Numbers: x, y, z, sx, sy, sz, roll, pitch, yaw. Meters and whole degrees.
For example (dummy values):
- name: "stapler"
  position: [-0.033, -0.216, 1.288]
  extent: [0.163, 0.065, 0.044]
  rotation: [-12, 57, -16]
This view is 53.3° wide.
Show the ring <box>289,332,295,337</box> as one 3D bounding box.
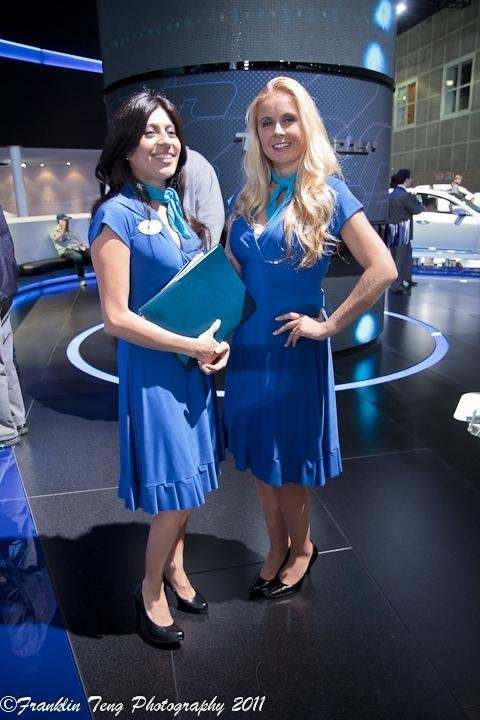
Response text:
- name: "ring"
  position: [0.142, -0.069, 1.291]
  extent: [0.010, 0.010, 0.004]
  rotation: [13, 59, -9]

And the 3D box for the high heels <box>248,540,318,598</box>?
- name: "high heels"
  position: [0.136, 0.709, 1.609]
  extent: [0.202, 0.091, 0.105]
  rotation: [-24, 14, -36]

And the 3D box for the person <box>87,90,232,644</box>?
- name: "person"
  position: [-0.215, 0.073, 1.339]
  extent: [0.335, 1.492, 0.393]
  rotation: [-5, 11, -18]

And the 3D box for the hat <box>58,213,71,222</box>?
- name: "hat"
  position: [-3.394, -2.680, 9.191]
  extent: [0.157, 0.232, 0.151]
  rotation: [2, 11, 14]

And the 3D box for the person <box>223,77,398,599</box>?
- name: "person"
  position: [0.186, 0.009, 1.429]
  extent: [0.493, 1.544, 0.331]
  rotation: [1, 11, 12]
